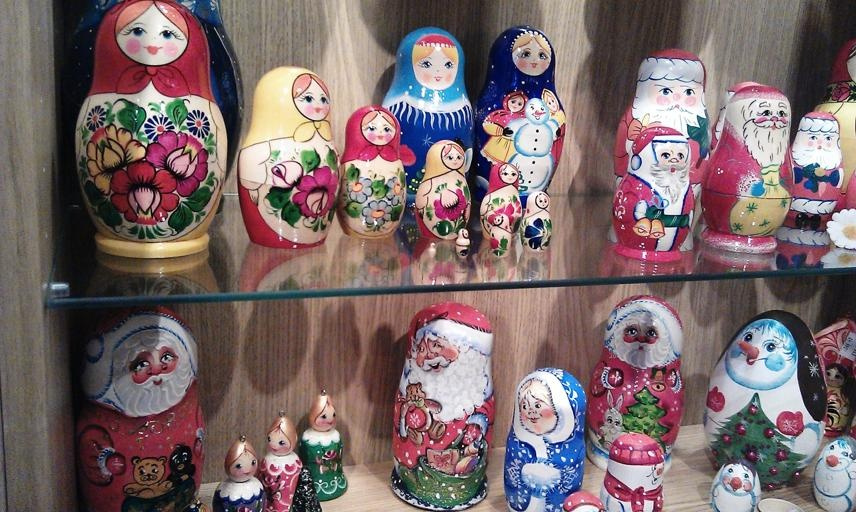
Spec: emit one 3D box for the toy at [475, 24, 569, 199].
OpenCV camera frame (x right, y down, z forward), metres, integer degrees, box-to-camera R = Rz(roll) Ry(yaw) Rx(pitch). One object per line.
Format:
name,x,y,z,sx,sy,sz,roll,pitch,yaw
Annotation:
toy,0.155,-0.245,1.382,0.155,0.290,0.083,-1,12,2

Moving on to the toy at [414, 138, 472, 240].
toy,0.023,-0.104,1.305,0.088,0.160,0.073,-2,12,-2

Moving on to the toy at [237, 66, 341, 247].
toy,-0.216,-0.151,1.246,0.157,0.277,0.074,-4,12,-13

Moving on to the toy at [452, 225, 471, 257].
toy,0.057,-0.026,1.280,0.035,0.060,0.038,2,13,5

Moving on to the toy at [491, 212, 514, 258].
toy,0.119,-0.034,1.293,0.035,0.067,0.021,-1,12,4

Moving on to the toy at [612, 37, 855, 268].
toy,0.517,-0.167,1.385,0.370,0.338,0.140,3,10,-10
